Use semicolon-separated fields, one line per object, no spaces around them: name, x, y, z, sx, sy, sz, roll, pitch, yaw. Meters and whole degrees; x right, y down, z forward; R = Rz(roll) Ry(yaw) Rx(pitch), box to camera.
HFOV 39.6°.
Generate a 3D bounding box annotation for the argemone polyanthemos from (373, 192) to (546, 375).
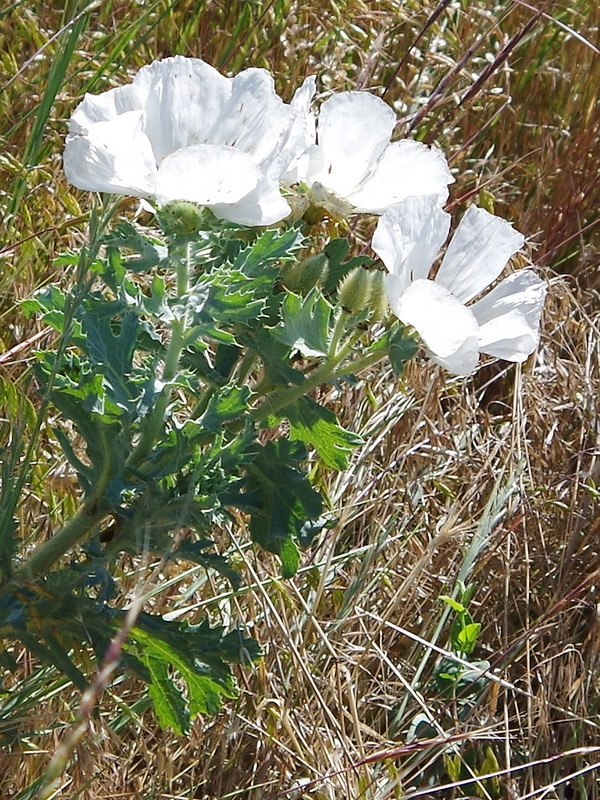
argemone polyanthemos;0.145;-0.087;0.792;0.177;0.075;0.170;27;57;-26
